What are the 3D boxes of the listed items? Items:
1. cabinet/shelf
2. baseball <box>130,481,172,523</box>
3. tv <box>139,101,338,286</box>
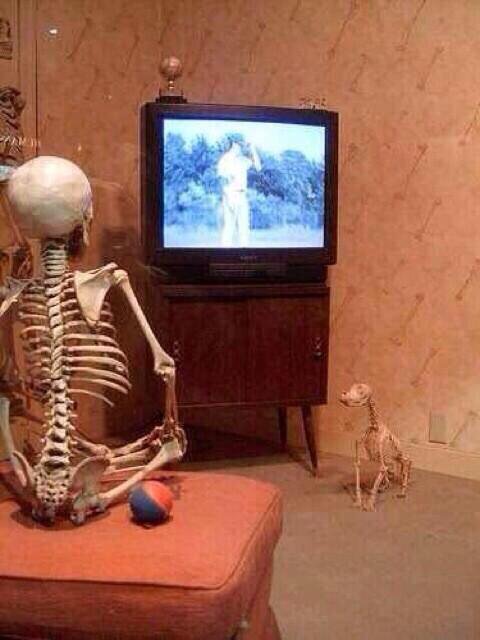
[{"bbox_3d":[-0.062,0.241,2.349,0.609,1.073,0.499,-1,1,-13],"label":"cabinet/shelf"},{"bbox_3d":[-0.147,0.301,0.834,0.054,0.065,0.060,14,-34,-27],"label":"baseball"},{"bbox_3d":[-0.022,-0.529,2.380,0.962,1.148,0.608,-1,4,-9],"label":"tv"}]
